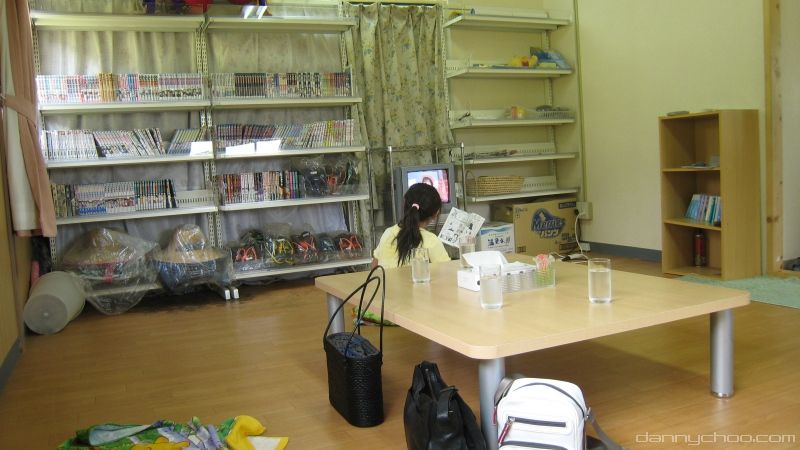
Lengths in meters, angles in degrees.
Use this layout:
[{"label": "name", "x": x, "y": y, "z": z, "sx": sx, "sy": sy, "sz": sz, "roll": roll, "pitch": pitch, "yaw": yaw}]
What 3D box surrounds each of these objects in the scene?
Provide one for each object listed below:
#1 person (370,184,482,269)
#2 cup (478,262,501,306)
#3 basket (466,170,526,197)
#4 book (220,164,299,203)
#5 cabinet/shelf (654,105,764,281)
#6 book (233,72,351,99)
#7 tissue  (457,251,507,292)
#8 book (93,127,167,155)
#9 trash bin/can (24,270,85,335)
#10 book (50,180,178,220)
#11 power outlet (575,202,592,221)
[{"label": "person", "x": 0.194, "y": -0.006, "z": 5.102, "sx": 0.675, "sy": 1.338, "sz": 0.643, "roll": 18, "pitch": 30, "yaw": 35}, {"label": "cup", "x": 0.533, "y": 0.357, "z": 3.172, "sx": 0.128, "sy": 0.257, "sz": 0.065, "roll": -5, "pitch": 15, "yaw": -2}, {"label": "basket", "x": 1.243, "y": -0.544, "z": 7.132, "sx": 0.569, "sy": 0.195, "sz": 0.340, "roll": -2, "pitch": 3, "yaw": -18}, {"label": "book", "x": -1.727, "y": -0.460, "z": 6.565, "sx": 1.171, "sy": 0.319, "sz": 0.429, "roll": -1, "pitch": 4, "yaw": -15}, {"label": "cabinet/shelf", "x": 3.266, "y": -0.321, "z": 5.687, "sx": 1.056, "sy": 1.755, "sz": 0.764, "roll": 6, "pitch": 18, "yaw": 33}, {"label": "book", "x": -1.244, "y": -1.629, "z": 6.255, "sx": 1.353, "sy": 0.289, "sz": 0.088, "roll": -7, "pitch": 16, "yaw": -17}, {"label": "tissue ", "x": 0.558, "y": 0.285, "z": 3.486, "sx": 0.299, "sy": 0.173, "sz": 0.271, "roll": -3, "pitch": 3, "yaw": -25}, {"label": "book", "x": -2.966, "y": -0.896, "z": 5.883, "sx": 0.679, "sy": 0.289, "sz": 0.230, "roll": -8, "pitch": 15, "yaw": -20}, {"label": "trash bin/can", "x": -3.335, "y": 0.735, "z": 5.186, "sx": 0.387, "sy": 0.517, "sz": 0.428, "roll": -3, "pitch": 15, "yaw": 3}, {"label": "book", "x": -3.067, "y": -0.269, "z": 5.974, "sx": 1.421, "sy": 0.393, "sz": 0.372, "roll": -3, "pitch": -3, "yaw": 6}, {"label": "power outlet", "x": 2.469, "y": -0.210, "z": 7.311, "sx": 0.131, "sy": 0.215, "sz": 0.246, "roll": -6, "pitch": 10, "yaw": -37}]
